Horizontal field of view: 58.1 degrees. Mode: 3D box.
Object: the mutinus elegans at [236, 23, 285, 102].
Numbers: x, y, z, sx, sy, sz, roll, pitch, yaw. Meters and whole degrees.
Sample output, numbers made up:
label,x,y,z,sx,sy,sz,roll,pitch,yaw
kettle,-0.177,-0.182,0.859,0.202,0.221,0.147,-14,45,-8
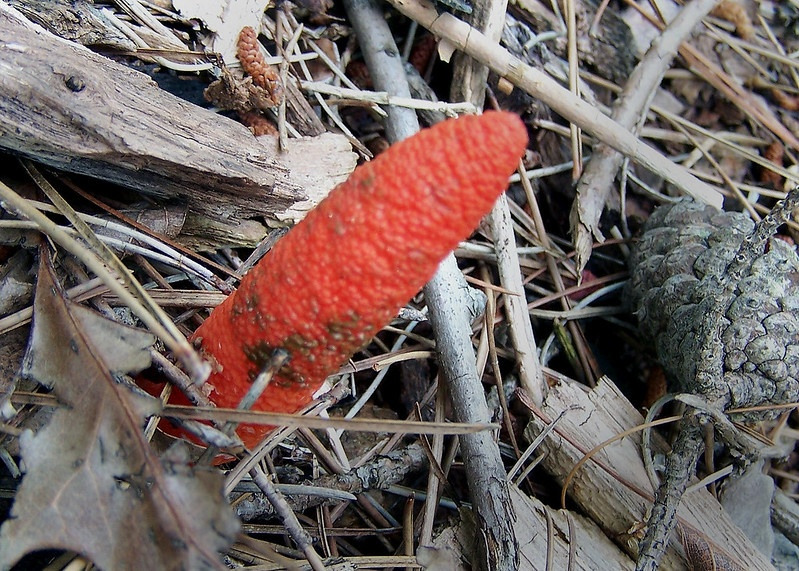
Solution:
label,x,y,z,sx,sy,sz,roll,pitch,yaw
mutinus elegans,-0.400,-0.639,2.076,0.092,0.149,0.196,-11,47,-40
